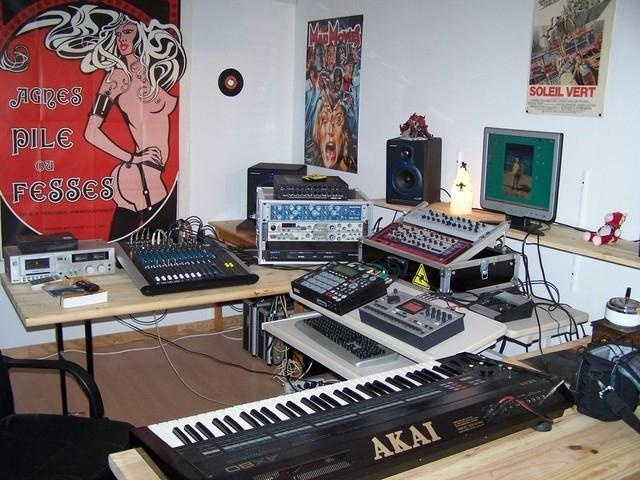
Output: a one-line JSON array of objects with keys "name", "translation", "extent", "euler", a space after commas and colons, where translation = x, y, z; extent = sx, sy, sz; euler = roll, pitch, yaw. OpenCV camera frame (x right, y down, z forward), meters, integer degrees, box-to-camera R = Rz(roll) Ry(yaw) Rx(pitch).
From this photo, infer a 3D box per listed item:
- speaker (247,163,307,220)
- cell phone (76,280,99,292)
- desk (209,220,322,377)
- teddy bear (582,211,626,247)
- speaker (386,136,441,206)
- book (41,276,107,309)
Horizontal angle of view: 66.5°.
[{"name": "speaker", "translation": [-0.365, -0.409, 4.079], "extent": [0.485, 0.456, 0.481], "euler": [0, 9, -7]}, {"name": "cell phone", "translation": [-1.202, 0.235, 2.553], "extent": [0.063, 0.027, 0.136], "euler": [-11, 20, -42]}, {"name": "desk", "translation": [-0.341, 0.385, 3.173], "extent": [0.452, 0.909, 1.011], "euler": [-6, 20, -24]}, {"name": "teddy bear", "translation": [1.392, -0.059, 2.410], "extent": [0.186, 0.155, 0.122], "euler": [-3, 13, -10]}, {"name": "speaker", "translation": [0.597, -0.452, 3.188], "extent": [0.316, 0.423, 0.320], "euler": [7, 15, 23]}, {"name": "book", "translation": [-1.260, 0.261, 2.533], "extent": [0.182, 0.055, 0.242], "euler": [-7, 18, -41]}]
